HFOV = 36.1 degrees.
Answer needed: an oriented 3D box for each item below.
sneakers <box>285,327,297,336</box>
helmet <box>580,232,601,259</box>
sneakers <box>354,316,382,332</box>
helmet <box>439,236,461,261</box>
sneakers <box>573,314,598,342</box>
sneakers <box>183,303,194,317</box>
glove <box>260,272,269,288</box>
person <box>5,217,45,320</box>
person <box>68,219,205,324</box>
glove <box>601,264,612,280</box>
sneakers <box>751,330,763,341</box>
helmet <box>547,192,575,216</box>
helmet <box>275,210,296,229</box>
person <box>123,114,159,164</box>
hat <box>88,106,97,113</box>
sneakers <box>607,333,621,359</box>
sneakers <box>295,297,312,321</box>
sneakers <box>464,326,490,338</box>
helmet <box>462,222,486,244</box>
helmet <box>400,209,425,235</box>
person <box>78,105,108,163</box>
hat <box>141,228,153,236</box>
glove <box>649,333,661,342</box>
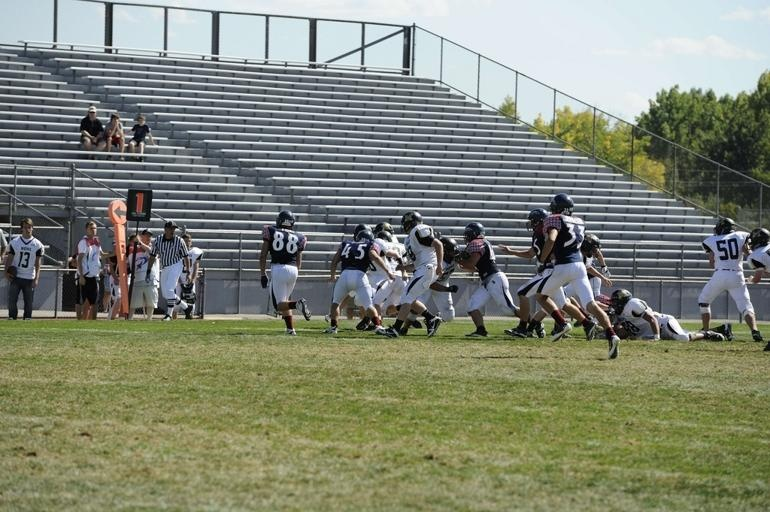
[{"bbox_3d":[-1.644,1.329,20.609,0.087,0.098,0.230,0,4,-17],"label":"sneakers"},{"bbox_3d":[3.753,-0.175,21.835,0.523,0.481,0.405,5,5,5],"label":"helmet"},{"bbox_3d":[-0.374,1.259,21.708,0.549,0.243,0.181,7,-8,-18],"label":"sneakers"},{"bbox_3d":[1.145,-0.124,21.399,0.410,0.390,0.326,4,16,0],"label":"helmet"},{"bbox_3d":[3.358,1.219,19.889,0.252,0.508,0.186,-27,23,6],"label":"sneakers"},{"bbox_3d":[-4.041,1.150,24.344,0.248,0.264,0.264,0,-5,-7],"label":"sneakers"},{"bbox_3d":[-2.152,0.441,20.902,0.248,0.300,0.141,-2,2,-39],"label":"glove"},{"bbox_3d":[-7.042,0.297,23.099,0.729,2.054,1.394,-4,13,-18],"label":"person"},{"bbox_3d":[-4.394,0.278,23.542,1.389,1.981,0.741,-5,13,-22],"label":"person"},{"bbox_3d":[4.581,0.359,24.680,0.182,0.217,0.514,-7,-32,17],"label":"glove"},{"bbox_3d":[6.609,1.443,21.106,0.135,0.158,0.375,0,-15,23],"label":"sneakers"},{"bbox_3d":[2.892,-0.840,19.406,0.311,0.397,0.392,1,18,-23],"label":"helmet"},{"bbox_3d":[-1.737,-0.613,20.935,0.310,0.378,0.380,2,17,-15],"label":"helmet"},{"bbox_3d":[-6.199,-2.957,29.724,0.764,1.080,0.625,7,10,0],"label":"person"},{"bbox_3d":[-7.351,-3.636,29.623,0.283,0.166,0.438,5,15,-16],"label":"hat"},{"bbox_3d":[3.555,1.404,18.352,0.159,0.431,0.194,0,12,-6],"label":"sneakers"},{"bbox_3d":[-1.684,1.104,23.887,0.191,0.551,0.232,-31,30,-24],"label":"sneakers"},{"bbox_3d":[1.610,1.364,21.196,0.470,0.211,0.160,3,2,15],"label":"sneakers"},{"bbox_3d":[1.575,-0.410,21.309,0.340,0.432,0.431,-6,14,-44],"label":"helmet"},{"bbox_3d":[0.396,-0.620,21.425,0.469,0.449,0.397,2,3,32],"label":"helmet"},{"bbox_3d":[-7.231,-3.029,29.281,0.641,1.219,0.665,-3,13,-14],"label":"person"},{"bbox_3d":[-5.076,-0.493,25.109,0.153,0.132,0.251,13,-23,-27],"label":"hat"},{"bbox_3d":[4.748,1.453,20.882,0.241,0.099,0.079,-2,-4,-35],"label":"glove"}]
